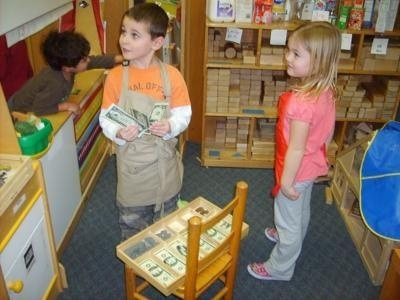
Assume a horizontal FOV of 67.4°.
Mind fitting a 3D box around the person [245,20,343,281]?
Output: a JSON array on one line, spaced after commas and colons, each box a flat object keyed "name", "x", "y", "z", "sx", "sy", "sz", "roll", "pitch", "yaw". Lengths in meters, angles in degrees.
[{"name": "person", "x": 0.700, "y": 0.140, "z": 2.288, "sx": 0.472, "sy": 2.052, "sz": 0.399, "roll": -19, "pitch": 28, "yaw": -38}]

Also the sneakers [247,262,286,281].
[{"name": "sneakers", "x": 0.583, "y": 1.061, "z": 2.660, "sx": 0.337, "sy": 0.139, "sz": 0.128, "roll": 8, "pitch": 18, "yaw": 4}]

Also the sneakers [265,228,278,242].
[{"name": "sneakers", "x": 0.701, "y": 0.822, "z": 2.951, "sx": 0.067, "sy": 0.095, "sz": 0.147, "roll": 16, "pitch": 30, "yaw": -45}]
